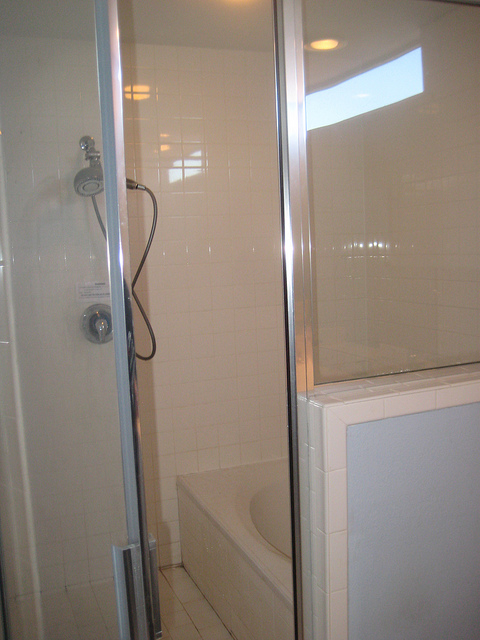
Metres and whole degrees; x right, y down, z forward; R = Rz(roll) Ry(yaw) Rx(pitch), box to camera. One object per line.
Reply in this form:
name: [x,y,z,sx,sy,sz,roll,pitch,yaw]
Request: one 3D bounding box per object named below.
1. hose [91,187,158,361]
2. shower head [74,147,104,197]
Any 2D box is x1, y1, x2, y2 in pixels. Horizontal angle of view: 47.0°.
hose: [-0.454,-0.159,2.309,0.215,0.953,0.050,-10,46,-15]
shower head: [-0.221,-0.215,0.803,0.046,0.069,0.013,-3,7,14]
